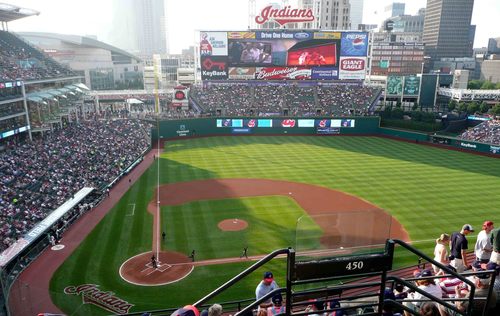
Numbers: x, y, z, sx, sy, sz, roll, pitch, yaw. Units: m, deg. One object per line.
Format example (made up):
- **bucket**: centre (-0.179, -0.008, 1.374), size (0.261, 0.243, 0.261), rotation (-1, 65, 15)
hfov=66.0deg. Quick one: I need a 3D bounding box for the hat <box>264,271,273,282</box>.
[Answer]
- **hat**: centre (0.844, 5.614, 18.395), size (0.436, 0.266, 0.525), rotation (-1, 7, -15)
